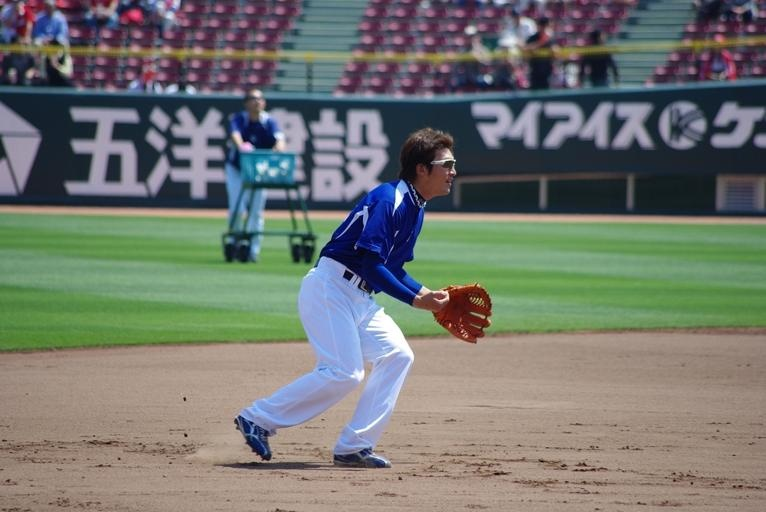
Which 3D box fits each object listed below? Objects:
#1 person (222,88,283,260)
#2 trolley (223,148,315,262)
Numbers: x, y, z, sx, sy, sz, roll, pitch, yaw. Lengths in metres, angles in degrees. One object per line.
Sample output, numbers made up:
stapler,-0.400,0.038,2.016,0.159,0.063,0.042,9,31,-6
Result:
person,-2.111,-1.250,28.681,1.162,2.411,1.024,0,2,-2
trolley,-1.765,-0.723,28.667,1.483,1.588,1.187,0,-6,-4
